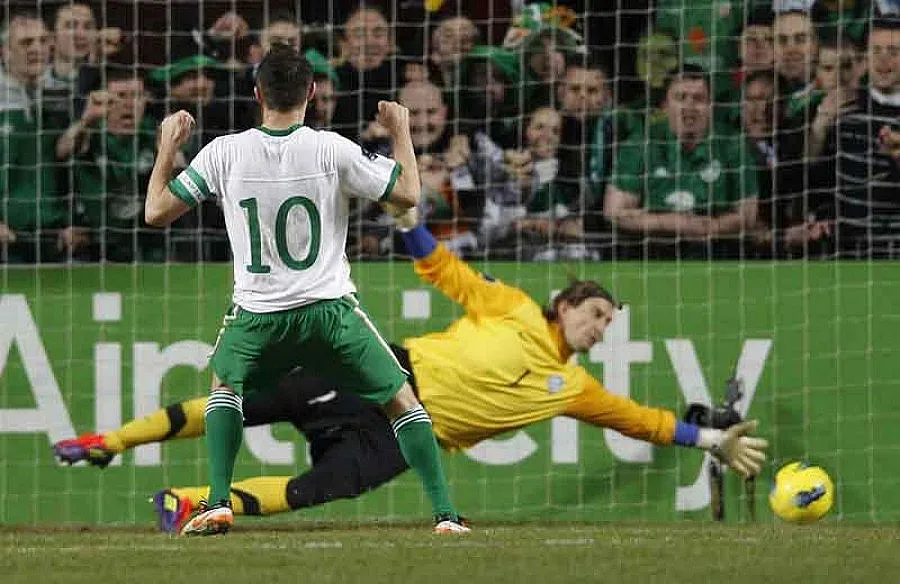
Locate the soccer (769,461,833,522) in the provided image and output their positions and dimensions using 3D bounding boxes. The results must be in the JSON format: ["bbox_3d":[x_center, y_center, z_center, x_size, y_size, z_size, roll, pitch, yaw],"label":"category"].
[{"bbox_3d":[2.389,1.314,12.223,0.365,0.406,0.395,0,3,20],"label":"soccer"}]

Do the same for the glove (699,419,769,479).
[{"bbox_3d":[1.933,1.083,12.438,0.479,0.382,0.145,-4,0,3],"label":"glove"}]
